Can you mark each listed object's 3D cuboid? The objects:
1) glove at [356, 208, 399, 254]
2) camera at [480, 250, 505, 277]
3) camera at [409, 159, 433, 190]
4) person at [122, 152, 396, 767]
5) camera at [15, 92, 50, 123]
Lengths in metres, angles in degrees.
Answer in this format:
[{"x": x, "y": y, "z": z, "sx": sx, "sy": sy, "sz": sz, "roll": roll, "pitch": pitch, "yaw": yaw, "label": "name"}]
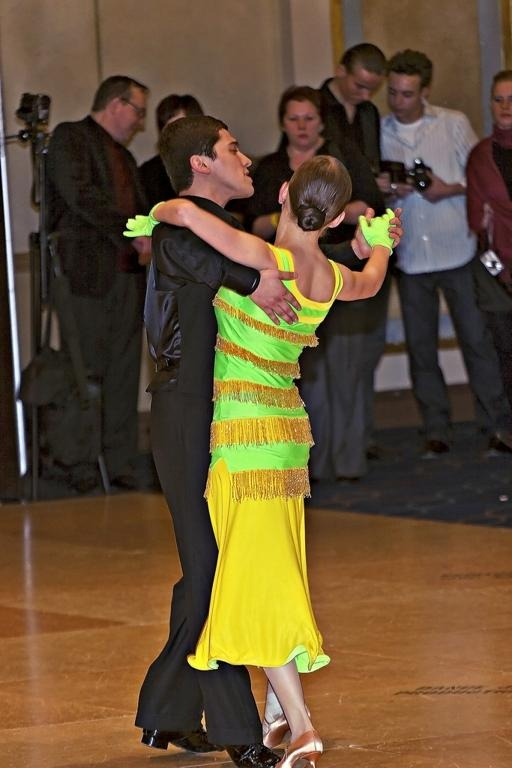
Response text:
[{"x": 0.215, "y": -0.276, "z": 1.450, "sx": 0.092, "sy": 0.084, "sz": 0.035, "roll": -6, "pitch": -13, "yaw": -26, "label": "glove"}, {"x": 0.946, "y": -0.485, "z": 3.115, "sx": 0.081, "sy": 0.106, "sz": 0.026, "roll": -36, "pitch": 0, "yaw": 2, "label": "camera"}, {"x": 0.676, "y": -0.854, "z": 3.163, "sx": 0.089, "sy": 0.117, "sz": 0.032, "roll": -12, "pitch": 3, "yaw": 8, "label": "camera"}, {"x": 0.078, "y": 0.100, "z": 1.228, "sx": 0.414, "sy": 0.836, "sz": 0.212, "roll": -3, "pitch": -1, "yaw": -36, "label": "person"}, {"x": -1.040, "y": -1.296, "z": 3.632, "sx": 0.175, "sy": 0.155, "sz": 0.122, "roll": 5, "pitch": 9, "yaw": 8, "label": "camera"}]
